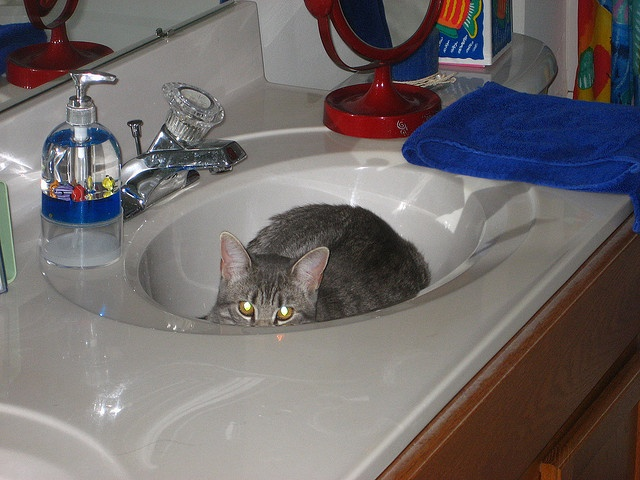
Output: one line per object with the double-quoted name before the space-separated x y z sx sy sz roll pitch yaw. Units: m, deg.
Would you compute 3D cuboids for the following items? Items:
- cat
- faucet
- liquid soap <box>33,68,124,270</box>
"cat" -0.007 0.008 0.804 0.171 0.100 0.238 15 38 27
"faucet" -0.174 -0.066 0.756 0.119 0.040 0.097 -1 34 17
"liquid soap" -0.273 -0.080 0.660 0.103 0.212 0.078 -8 23 -20
